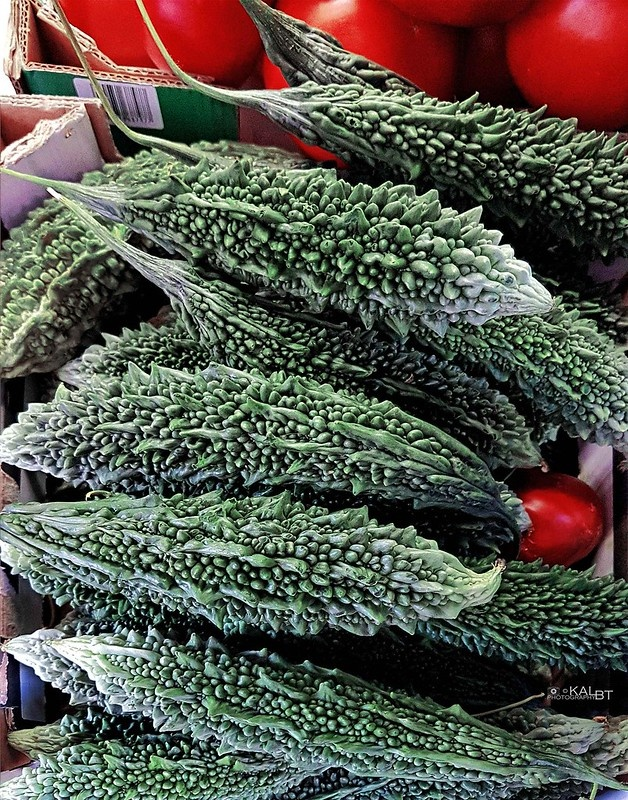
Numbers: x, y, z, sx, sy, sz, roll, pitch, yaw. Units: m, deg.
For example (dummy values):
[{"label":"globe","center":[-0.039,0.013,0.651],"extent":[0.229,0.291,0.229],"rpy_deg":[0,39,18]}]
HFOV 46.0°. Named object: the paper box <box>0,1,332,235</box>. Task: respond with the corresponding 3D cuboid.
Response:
[{"label":"paper box","center":[-0.185,-0.408,1.030],"extent":[0.407,0.208,0.314],"rpy_deg":[6,57,3]}]
